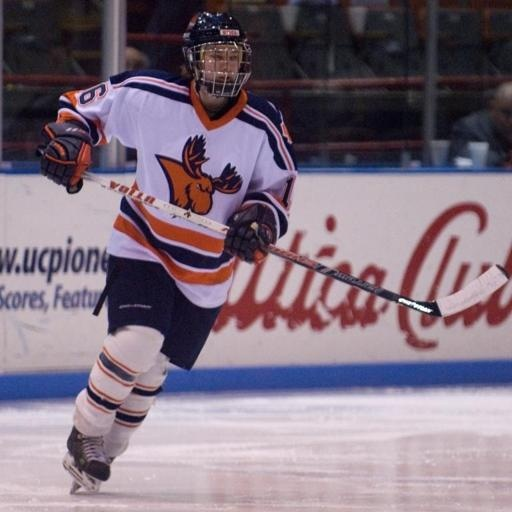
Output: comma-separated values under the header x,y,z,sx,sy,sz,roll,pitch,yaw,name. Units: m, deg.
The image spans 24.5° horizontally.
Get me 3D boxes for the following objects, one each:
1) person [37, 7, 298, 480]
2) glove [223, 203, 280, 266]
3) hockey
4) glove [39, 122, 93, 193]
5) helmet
x,y,z,sx,sy,sz,roll,pitch,yaw,name
-0.352,-0.006,4.015,0.880,1.649,0.456,9,13,0,person
-0.028,-0.074,3.993,0.156,0.204,0.095,34,-5,-9,glove
0.017,-0.077,4.839,1.522,0.154,0.194,23,58,2,hockey
-0.650,-0.324,3.984,0.168,0.236,0.123,6,13,-11,glove
-0.143,-0.699,4.008,0.226,0.260,0.276,-1,13,-17,helmet
